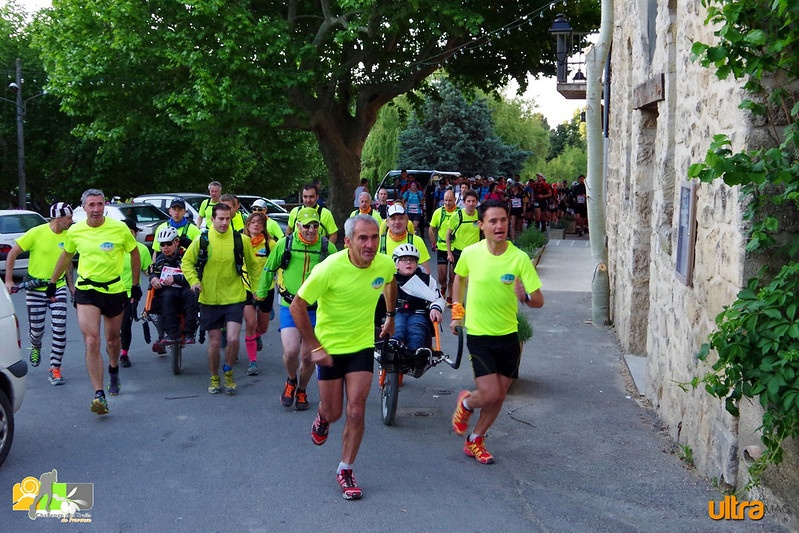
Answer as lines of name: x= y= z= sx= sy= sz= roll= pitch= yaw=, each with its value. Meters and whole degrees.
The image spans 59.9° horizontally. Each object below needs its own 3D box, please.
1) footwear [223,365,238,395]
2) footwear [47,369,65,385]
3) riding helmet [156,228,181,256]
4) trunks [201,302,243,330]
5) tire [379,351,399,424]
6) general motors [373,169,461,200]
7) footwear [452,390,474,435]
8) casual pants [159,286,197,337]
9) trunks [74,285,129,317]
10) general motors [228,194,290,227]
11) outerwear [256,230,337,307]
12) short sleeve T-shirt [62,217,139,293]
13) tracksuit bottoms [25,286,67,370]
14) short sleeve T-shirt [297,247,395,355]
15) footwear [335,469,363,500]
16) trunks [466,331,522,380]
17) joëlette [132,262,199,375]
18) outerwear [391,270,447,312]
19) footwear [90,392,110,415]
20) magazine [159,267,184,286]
footwear: x=-2.293 y=1.545 z=9.288 sx=0.136 sy=0.193 sz=0.411 roll=-1 pitch=6 yaw=-19
footwear: x=-4.772 y=1.531 z=9.584 sx=0.124 sy=0.164 sz=0.342 roll=1 pitch=-3 yaw=-32
riding helmet: x=-3.532 y=-0.373 z=10.475 sx=0.295 sy=0.384 sz=0.401 roll=-4 pitch=-6 yaw=-8
trunks: x=-2.367 y=0.635 z=9.102 sx=0.533 sy=0.410 sz=0.320 roll=1 pitch=-8 yaw=-12
tire: x=-0.124 y=1.440 z=8.272 sx=0.345 sy=0.885 sz=0.794 roll=2 pitch=-6 yaw=-2
general motors: x=0.814 y=-3.227 z=32.369 sx=3.865 sy=2.036 sz=2.291 roll=3 pitch=9 yaw=3
footwear: x=0.689 y=1.631 z=7.679 sx=0.184 sy=0.561 sz=0.231 roll=1 pitch=12 yaw=-25
casual pants: x=-3.210 y=0.646 z=10.036 sx=0.546 sy=0.857 sz=0.459 roll=5 pitch=-27 yaw=-28
trunks: x=-3.768 y=0.427 z=8.645 sx=0.418 sy=0.272 sz=0.427 roll=-4 pitch=-3 yaw=33
general motors: x=-4.620 y=-2.005 z=24.668 sx=1.217 sy=1.072 sz=2.489 roll=-7 pitch=9 yaw=-42
outerwear: x=-1.271 y=0.026 z=8.441 sx=1.035 sy=0.884 sz=0.412 roll=4 pitch=7 yaw=-18
short sleeve T-shirt: x=-3.892 y=-0.131 z=8.936 sx=1.017 sy=1.083 sz=0.548 roll=0 pitch=-5 yaw=-18
tracksuit bottoms: x=-5.299 y=0.923 z=10.343 sx=0.362 sy=0.873 sz=1.268 roll=-18 pitch=-9 yaw=-39
short sleeve T-shirt: x=-0.497 y=0.378 z=6.797 sx=1.133 sy=1.038 sz=0.486 roll=-5 pitch=14 yaw=-33
footwear: x=-0.480 y=2.052 z=6.665 sx=0.238 sy=0.253 sz=0.309 roll=-1 pitch=9 yaw=-7
trunks: x=0.980 y=0.914 z=7.449 sx=0.678 sy=0.674 sz=0.398 roll=2 pitch=-9 yaw=-29
joëlette: x=-3.519 y=0.913 z=10.836 sx=0.885 sy=1.212 sz=1.888 roll=0 pitch=-10 yaw=-13
outerwear: x=0.262 y=0.323 z=8.622 sx=0.743 sy=0.548 sz=0.431 roll=0 pitch=4 yaw=-1
footwear: x=-3.565 y=1.670 z=8.306 sx=0.155 sy=0.217 sz=0.401 roll=2 pitch=-30 yaw=-10
magazine: x=-3.361 y=0.153 z=10.166 sx=0.284 sy=0.303 sz=0.041 roll=5 pitch=-34 yaw=-17
